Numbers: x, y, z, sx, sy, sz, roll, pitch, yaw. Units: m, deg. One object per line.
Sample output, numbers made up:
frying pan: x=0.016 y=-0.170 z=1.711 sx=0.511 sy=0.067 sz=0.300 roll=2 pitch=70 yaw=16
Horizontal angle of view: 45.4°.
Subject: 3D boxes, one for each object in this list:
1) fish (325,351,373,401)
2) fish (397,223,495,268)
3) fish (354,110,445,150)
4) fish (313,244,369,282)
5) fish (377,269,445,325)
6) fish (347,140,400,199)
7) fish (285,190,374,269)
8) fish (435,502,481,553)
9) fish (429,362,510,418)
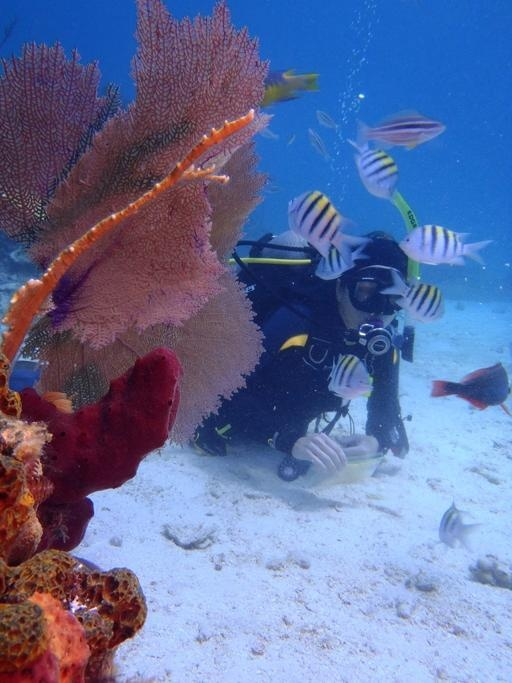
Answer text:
fish: x=0.596 y=0.232 z=3.820 sx=0.250 sy=0.292 sz=0.225 roll=13 pitch=14 yaw=14
fish: x=1.266 y=-0.633 z=4.120 sx=0.457 sy=0.275 sz=0.726 roll=15 pitch=14 yaw=26
fish: x=1.014 y=-1.501 z=4.345 sx=0.642 sy=0.239 sz=0.384 roll=13 pitch=13 yaw=17
fish: x=0.611 y=-0.553 z=4.107 sx=0.332 sy=0.165 sz=0.216 roll=-33 pitch=23 yaw=-15
fish: x=1.105 y=-0.305 z=4.236 sx=0.112 sy=0.265 sz=0.492 roll=-1 pitch=21 yaw=-47
fish: x=0.822 y=-1.170 z=4.178 sx=0.321 sy=0.361 sz=0.455 roll=11 pitch=13 yaw=6
fish: x=0.456 y=-0.686 z=3.789 sx=0.253 sy=0.431 sz=0.642 roll=21 pitch=17 yaw=39
fish: x=1.199 y=1.057 z=3.583 sx=0.196 sy=0.210 sz=0.349 roll=15 pitch=14 yaw=23
fish: x=1.617 y=0.298 z=4.544 sx=0.558 sy=0.400 sz=0.240 roll=18 pitch=16 yaw=35
